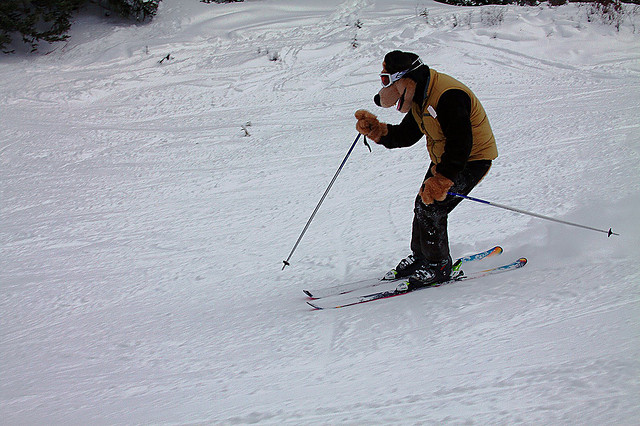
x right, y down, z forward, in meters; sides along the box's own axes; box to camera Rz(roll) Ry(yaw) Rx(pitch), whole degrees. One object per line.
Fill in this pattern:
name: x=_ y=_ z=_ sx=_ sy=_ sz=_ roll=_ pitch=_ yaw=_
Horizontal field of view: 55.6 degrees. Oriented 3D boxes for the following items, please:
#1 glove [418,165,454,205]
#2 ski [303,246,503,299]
glove: x=1.341 y=-0.279 z=7.256 sx=0.327 sy=0.425 sz=0.343 roll=22 pitch=54 yaw=4
ski: x=1.129 y=0.799 z=7.902 sx=3.163 sy=0.151 sz=0.234 roll=-9 pitch=38 yaw=0
